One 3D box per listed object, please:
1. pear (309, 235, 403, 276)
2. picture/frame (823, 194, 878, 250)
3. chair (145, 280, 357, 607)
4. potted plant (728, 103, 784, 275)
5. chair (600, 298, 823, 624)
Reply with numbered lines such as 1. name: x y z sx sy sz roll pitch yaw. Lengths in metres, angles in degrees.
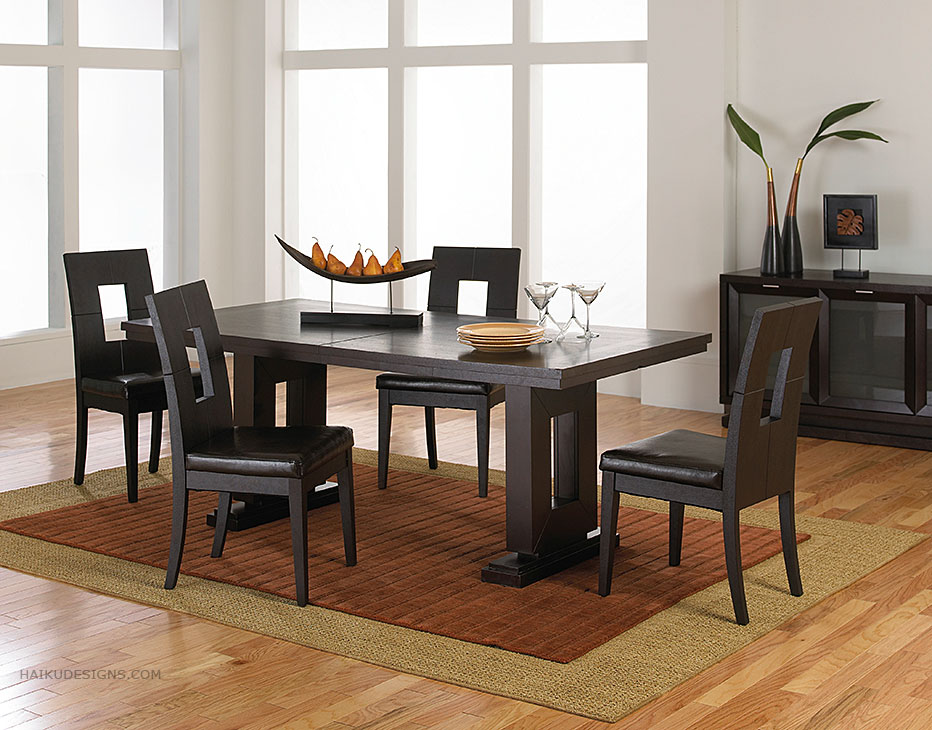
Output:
1. pear: -0.492 -0.488 3.702 0.396 0.134 0.417 0 8 5
2. picture/frame: 2.360 -0.880 4.865 0.345 0.362 0.039 3 4 41
3. chair: -0.776 0.252 2.900 0.621 1.018 0.575 2 6 4
4. potted plant: 1.866 -1.160 5.158 0.389 1.112 0.569 2 9 17
5. chair: 0.819 0.294 2.761 0.581 0.981 0.654 -6 6 -37
